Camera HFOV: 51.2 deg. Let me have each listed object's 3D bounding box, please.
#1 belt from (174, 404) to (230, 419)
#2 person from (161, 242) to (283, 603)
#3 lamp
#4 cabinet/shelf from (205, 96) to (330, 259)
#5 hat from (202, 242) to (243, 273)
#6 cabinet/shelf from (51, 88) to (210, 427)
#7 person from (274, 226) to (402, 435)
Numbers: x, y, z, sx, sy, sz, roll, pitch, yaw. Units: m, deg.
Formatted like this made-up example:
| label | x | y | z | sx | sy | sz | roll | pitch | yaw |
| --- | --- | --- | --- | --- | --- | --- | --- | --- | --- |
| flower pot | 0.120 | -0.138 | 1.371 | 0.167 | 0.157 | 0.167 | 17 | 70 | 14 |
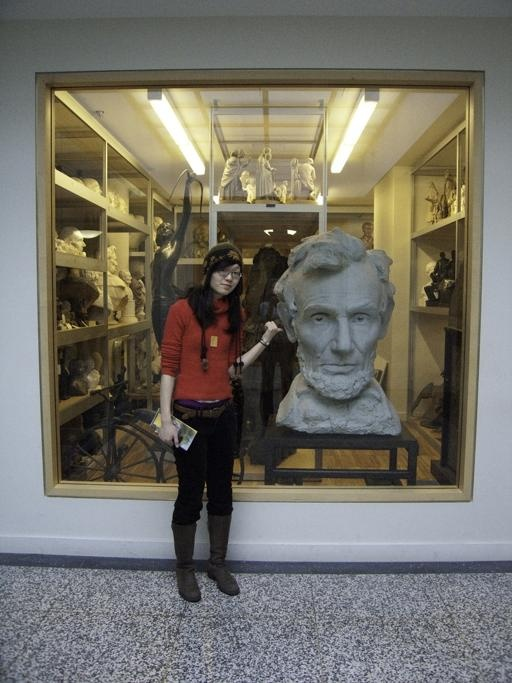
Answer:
| label | x | y | z | sx | sy | sz | roll | pitch | yaw |
| --- | --- | --- | --- | --- | --- | --- | --- | --- | --- |
| belt | -0.232 | 0.301 | 2.282 | 0.212 | 0.071 | 0.069 | -1 | 8 | -11 |
| person | -0.195 | 0.346 | 2.335 | 0.444 | 1.522 | 0.279 | -2 | 7 | -13 |
| lamp | 0.503 | -1.034 | 2.664 | 0.232 | 0.372 | 0.099 | 5 | 9 | 34 |
| cabinet/shelf | 0.038 | -0.892 | 3.301 | 0.738 | 1.379 | 0.712 | -1 | 5 | 1 |
| hat | -0.139 | -0.352 | 2.228 | 0.109 | 0.110 | 0.142 | 7 | 11 | -5 |
| cabinet/shelf | -0.618 | -0.462 | 2.653 | 0.510 | 1.455 | 1.560 | 0 | 5 | -1 |
| person | 0.398 | -0.028 | 2.551 | 0.620 | 0.995 | 0.327 | 0 | 7 | 1 |
